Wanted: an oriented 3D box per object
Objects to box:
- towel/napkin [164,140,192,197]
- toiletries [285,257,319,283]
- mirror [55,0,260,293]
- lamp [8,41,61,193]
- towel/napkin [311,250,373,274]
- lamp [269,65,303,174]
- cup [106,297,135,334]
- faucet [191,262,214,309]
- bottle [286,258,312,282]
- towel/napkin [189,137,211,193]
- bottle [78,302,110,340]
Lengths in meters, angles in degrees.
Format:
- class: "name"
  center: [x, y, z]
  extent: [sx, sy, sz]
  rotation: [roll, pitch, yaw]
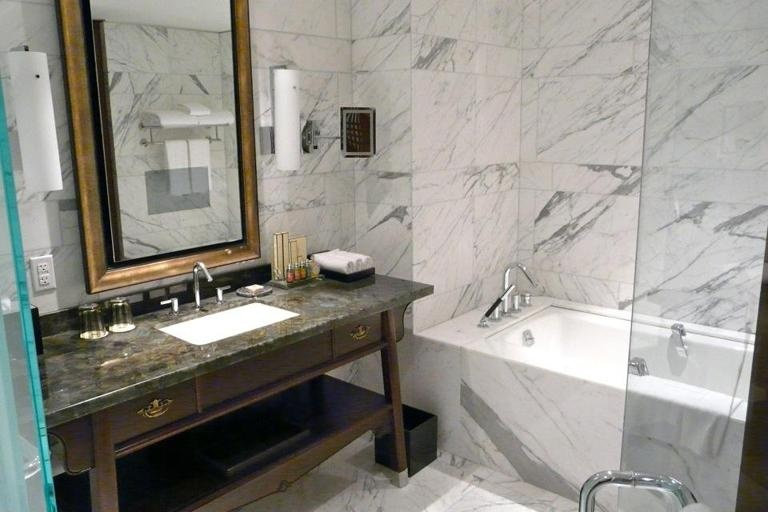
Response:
- class: "towel/napkin"
  center: [-0.934, -0.398, 2.594]
  extent: [0.126, 0.254, 0.035]
  rotation: [-2, -8, -7]
- class: "toiletries"
  center: [-0.431, 0.077, 2.939]
  extent: [0.046, 0.083, 0.133]
  rotation: [1, 5, 36]
- class: "mirror"
  center: [-0.949, -0.512, 2.526]
  extent: [0.176, 1.210, 0.899]
  rotation: [16, 23, 41]
- class: "lamp"
  center: [-1.243, -0.471, 2.041]
  extent: [0.129, 0.485, 0.196]
  rotation: [-5, 18, -16]
- class: "towel/napkin"
  center: [-0.237, 0.032, 3.029]
  extent: [0.275, 0.073, 0.204]
  rotation: [10, 18, 31]
- class: "lamp"
  center: [-0.477, -0.670, 2.867]
  extent: [0.144, 0.474, 0.102]
  rotation: [-8, 19, -24]
- class: "cup"
  center: [-1.063, 0.236, 2.323]
  extent: [0.098, 0.121, 0.096]
  rotation: [0, 17, 0]
- class: "faucet"
  center: [-0.810, 0.137, 2.561]
  extent: [0.112, 0.205, 0.038]
  rotation: [0, 6, 27]
- class: "bottle"
  center: [-0.440, 0.077, 2.932]
  extent: [0.042, 0.092, 0.124]
  rotation: [1, 5, 34]
- class: "towel/napkin"
  center: [-0.861, -0.421, 2.673]
  extent: [0.123, 0.250, 0.033]
  rotation: [-1, -10, -1]
- class: "bottle"
  center: [-1.160, 0.264, 2.280]
  extent: [0.110, 0.114, 0.110]
  rotation: [-2, 6, 33]
